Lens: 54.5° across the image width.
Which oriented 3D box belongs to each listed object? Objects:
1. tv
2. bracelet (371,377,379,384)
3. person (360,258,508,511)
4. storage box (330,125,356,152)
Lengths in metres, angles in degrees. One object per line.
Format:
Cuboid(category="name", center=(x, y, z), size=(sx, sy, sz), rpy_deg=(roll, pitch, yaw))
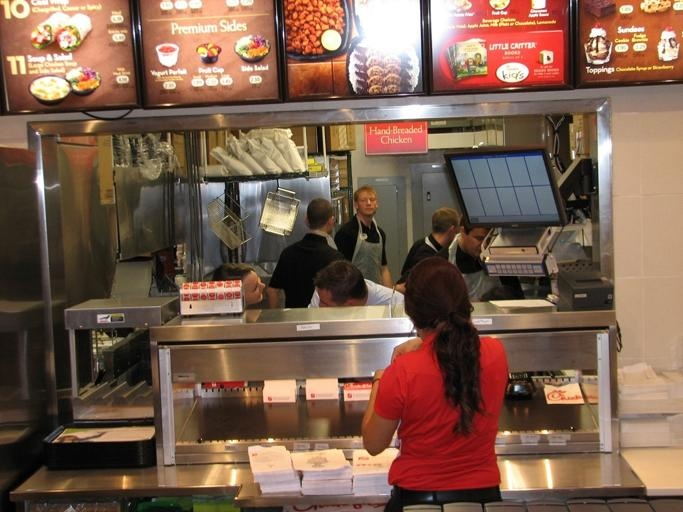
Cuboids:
Cuboid(category="tv", center=(0.758, -0.306, 2.944), size=(0.546, 0.413, 0.060), rpy_deg=(-5, 34, 31))
Cuboid(category="bracelet", center=(0.128, 0.462, 2.486), size=(0.032, 0.025, 0.070), rpy_deg=(-2, -5, 3))
Cuboid(category="person", center=(0.309, 0.475, 2.335), size=(0.479, 0.928, 0.228), rpy_deg=(-3, 1, 2))
Cuboid(category="storage box", center=(0.024, -1.012, 5.763), size=(0.154, 0.169, 0.449), rpy_deg=(-2, 1, 18))
